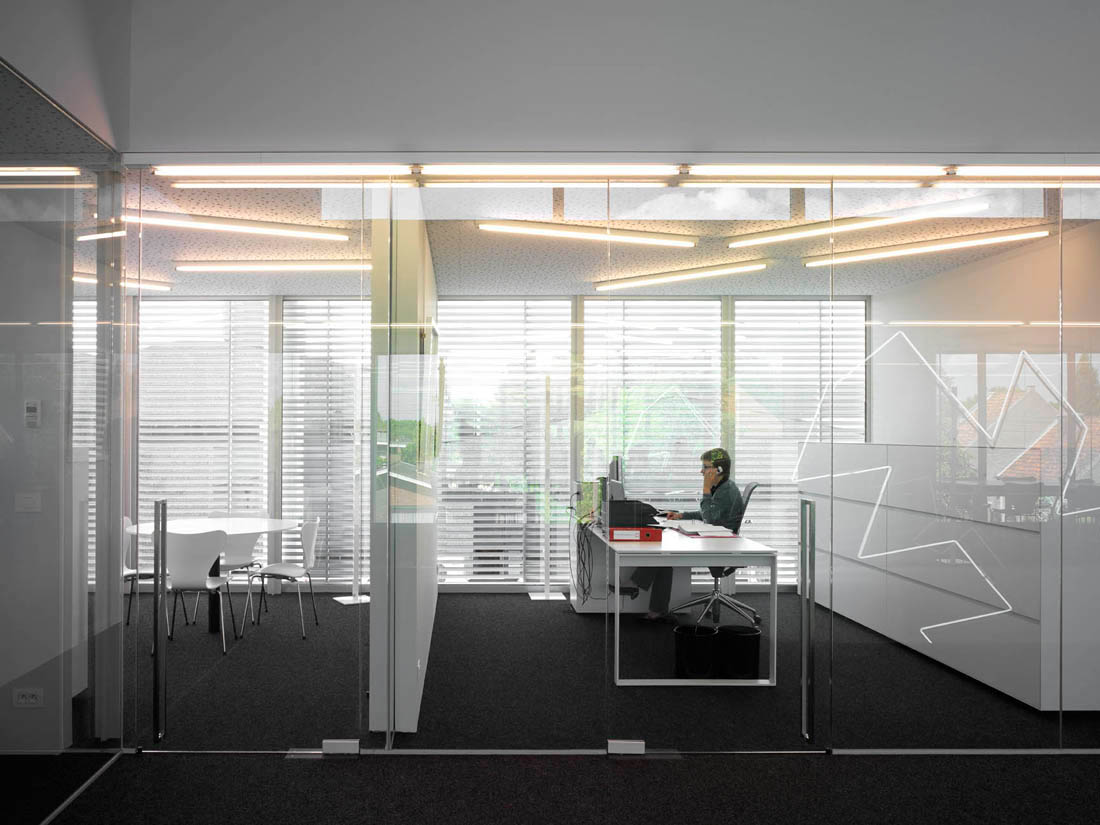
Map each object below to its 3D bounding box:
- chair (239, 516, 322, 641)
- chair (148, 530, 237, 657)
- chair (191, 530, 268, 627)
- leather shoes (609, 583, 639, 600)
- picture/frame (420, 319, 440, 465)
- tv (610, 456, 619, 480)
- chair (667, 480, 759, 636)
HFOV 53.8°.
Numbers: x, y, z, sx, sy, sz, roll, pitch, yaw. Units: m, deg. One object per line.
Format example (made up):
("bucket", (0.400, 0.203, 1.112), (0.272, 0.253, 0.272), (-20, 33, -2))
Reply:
("chair", (-1.497, 0.900, 6.075), (0.356, 0.578, 0.347), (3, 0, -10))
("chair", (-2.001, 0.970, 6.153), (0.386, 0.660, 0.411), (2, 3, 3))
("chair", (-1.817, 0.956, 5.842), (0.251, 0.411, 0.262), (-14, -13, 22))
("leather shoes", (0.407, 0.975, 5.935), (0.172, 0.080, 0.032), (1, -2, 21))
("picture/frame", (-0.660, -0.112, 5.957), (0.127, 0.757, 0.065), (2, -2, -7))
("tv", (0.353, 0.305, 5.961), (0.067, 0.123, 0.125), (1, -2, -2))
("chair", (0.897, 0.781, 5.974), (0.531, 0.749, 0.525), (-5, -3, 21))
